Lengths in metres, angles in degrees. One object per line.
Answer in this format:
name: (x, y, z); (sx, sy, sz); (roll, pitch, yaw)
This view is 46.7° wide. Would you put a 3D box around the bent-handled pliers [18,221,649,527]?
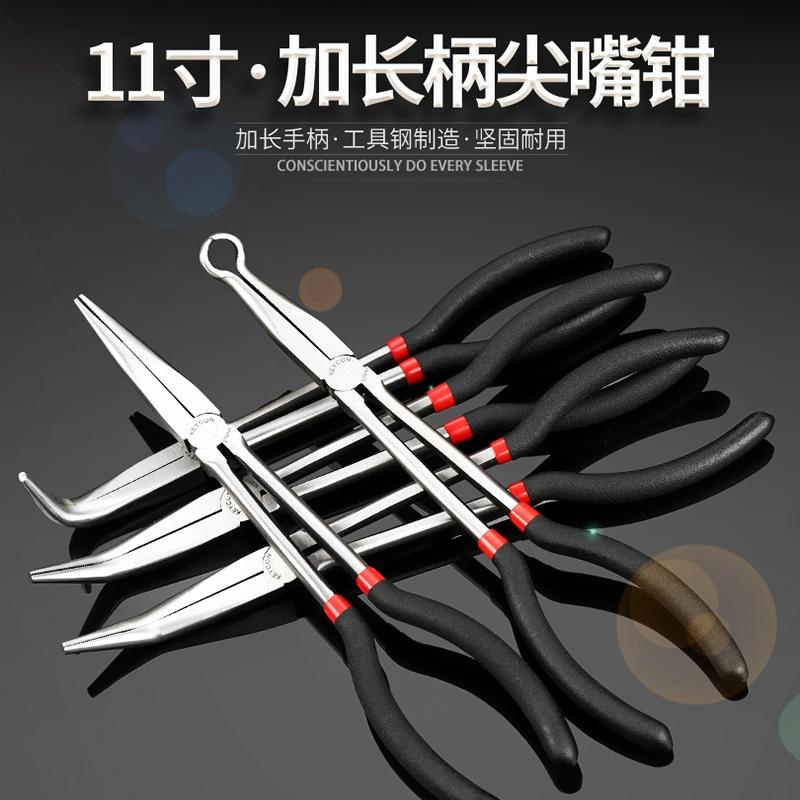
bent-handled pliers: (-0.102, 0.013, 1.191); (0.827, 0.078, 0.160); (-23, -21, 11)
